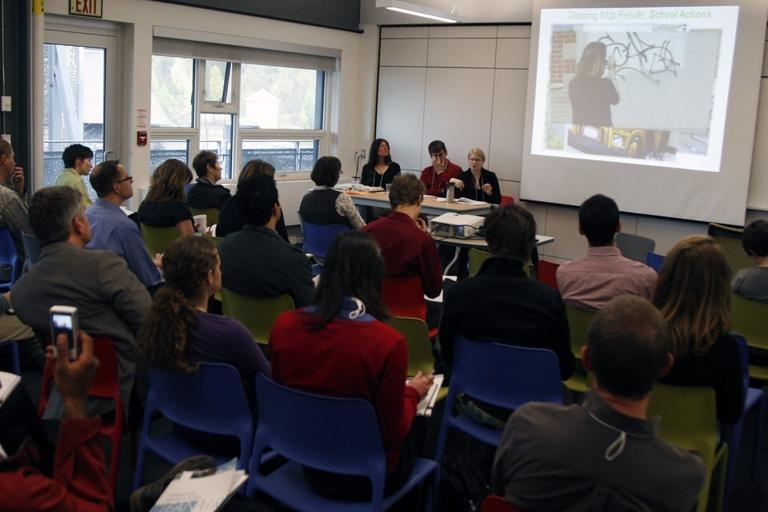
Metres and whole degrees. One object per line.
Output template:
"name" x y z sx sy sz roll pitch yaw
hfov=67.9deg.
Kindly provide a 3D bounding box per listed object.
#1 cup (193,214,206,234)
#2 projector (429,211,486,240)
"cup" -1.510 -0.260 4.628 0.145 0.155 0.096 -1 5 9
"projector" 0.765 -0.311 5.726 0.316 0.101 0.323 13 18 40
